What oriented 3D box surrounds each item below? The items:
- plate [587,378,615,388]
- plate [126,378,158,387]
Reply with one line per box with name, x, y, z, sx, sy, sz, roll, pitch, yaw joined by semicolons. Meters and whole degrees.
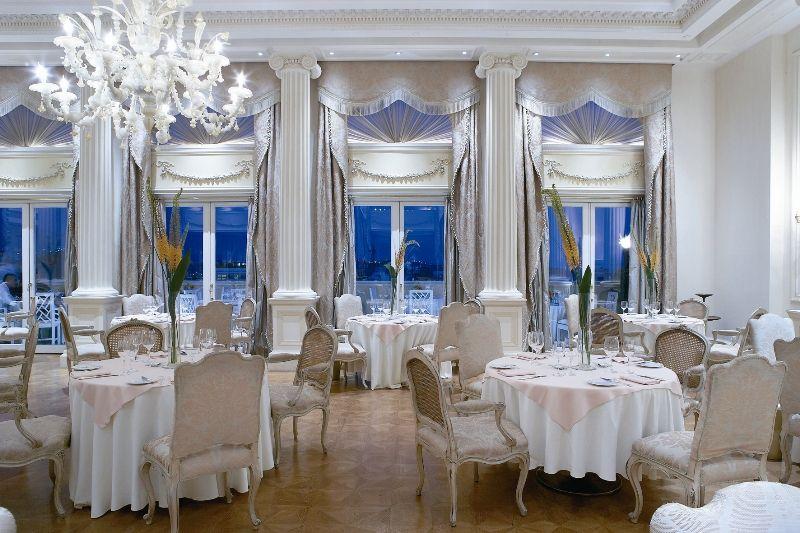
plate;2.022;1.175;6.506;0.278;0.070;0.197;-2;-1;11
plate;-2.586;1.163;6.499;0.304;0.102;0.215;-1;-1;-10
